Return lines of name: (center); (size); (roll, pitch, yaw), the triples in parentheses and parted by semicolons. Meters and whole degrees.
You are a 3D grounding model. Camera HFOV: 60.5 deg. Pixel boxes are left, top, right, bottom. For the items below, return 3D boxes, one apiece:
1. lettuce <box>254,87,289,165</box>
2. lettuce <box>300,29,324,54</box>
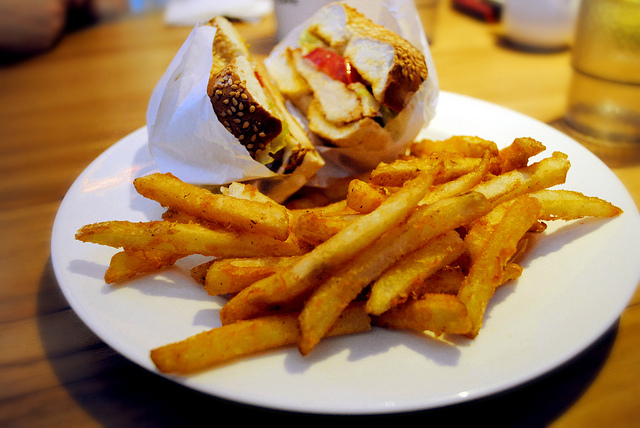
lettuce: (-0.237, -0.469, 2.958); (0.129, 0.365, 0.205); (-2, 20, -5)
lettuce: (-0.062, -1.077, 3.437); (0.181, 0.053, 0.169); (-6, 73, 21)
